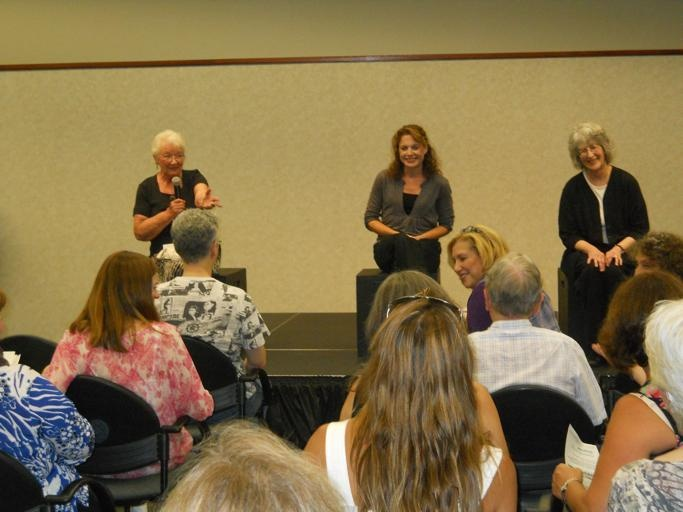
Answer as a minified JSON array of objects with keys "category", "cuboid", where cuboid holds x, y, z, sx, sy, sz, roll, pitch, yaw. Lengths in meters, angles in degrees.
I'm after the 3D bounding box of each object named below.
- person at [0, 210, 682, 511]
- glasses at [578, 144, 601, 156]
[{"category":"person","cuboid":[-0.514,0.335,3.272,1.850,1.078,0.836,0,6,-5]},{"category":"glasses","cuboid":[1.731,-0.730,4.792,0.090,0.032,0.099,-3,-12,26]}]
